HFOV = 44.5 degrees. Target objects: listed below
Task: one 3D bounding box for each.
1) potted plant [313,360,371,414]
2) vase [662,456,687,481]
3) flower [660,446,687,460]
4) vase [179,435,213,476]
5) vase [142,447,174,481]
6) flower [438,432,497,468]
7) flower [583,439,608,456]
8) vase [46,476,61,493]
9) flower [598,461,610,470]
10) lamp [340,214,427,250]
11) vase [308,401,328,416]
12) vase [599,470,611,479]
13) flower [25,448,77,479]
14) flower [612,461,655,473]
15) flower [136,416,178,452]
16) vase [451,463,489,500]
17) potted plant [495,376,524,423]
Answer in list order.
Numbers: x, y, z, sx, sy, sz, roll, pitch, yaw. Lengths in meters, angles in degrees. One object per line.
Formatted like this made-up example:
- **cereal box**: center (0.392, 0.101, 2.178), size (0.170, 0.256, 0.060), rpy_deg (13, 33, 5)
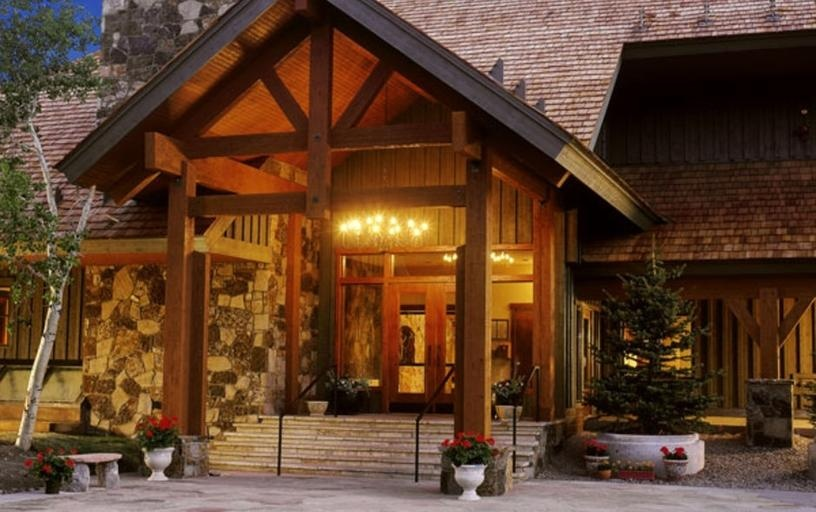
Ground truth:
- **potted plant**: center (-1.568, 3.118, 23.716), size (1.123, 0.837, 1.161), rpy_deg (0, -10, 12)
- **vase**: center (5.435, 4.319, 20.403), size (0.442, 0.329, 0.447), rpy_deg (0, -7, 15)
- **flower**: center (5.414, 4.044, 20.484), size (0.309, 0.147, 0.321), rpy_deg (-3, -7, 43)
- **vase**: center (-4.145, 3.974, 19.774), size (0.579, 0.735, 0.751), rpy_deg (0, -11, -1)
- **vase**: center (-4.745, 3.961, 19.101), size (0.681, 0.628, 0.699), rpy_deg (7, -15, -29)
- **flower**: center (1.010, 3.373, 18.004), size (0.614, 0.374, 0.573), rpy_deg (-3, 0, -32)
- **flower**: center (3.914, 3.991, 20.997), size (0.359, 0.260, 0.338), rpy_deg (8, -11, -40)
- **vase**: center (-6.250, 4.003, 17.581), size (0.244, 0.195, 0.256), rpy_deg (-2, -17, -1)
- **flower**: center (4.022, 4.307, 20.618), size (0.148, 0.102, 0.147), rpy_deg (6, -9, -28)
- **lamp**: center (-0.520, -0.365, 24.269), size (1.458, 0.615, 1.494), rpy_deg (1, -2, 21)
- **vase**: center (-2.076, 3.516, 23.296), size (0.342, 0.212, 0.348), rpy_deg (-3, -6, 38)
- **vase**: center (4.009, 4.459, 20.547), size (0.190, 0.129, 0.194), rpy_deg (-5, -11, 30)
- **flower**: center (-6.356, 3.572, 17.800), size (0.699, 0.590, 0.611), rpy_deg (3, -4, -16)
- **flower**: center (4.625, 4.318, 20.656), size (0.840, 0.214, 0.295), rpy_deg (-2, -14, 14)
- **flower**: center (-4.783, 3.324, 19.135), size (0.741, 0.634, 0.632), rpy_deg (1, -1, -3)
- **vase**: center (1.078, 3.997, 17.858), size (0.587, 0.505, 0.594), rpy_deg (-1, -6, 17)
- **potted plant**: center (2.192, 3.232, 22.402), size (0.923, 0.998, 0.818), rpy_deg (2, -9, -8)
